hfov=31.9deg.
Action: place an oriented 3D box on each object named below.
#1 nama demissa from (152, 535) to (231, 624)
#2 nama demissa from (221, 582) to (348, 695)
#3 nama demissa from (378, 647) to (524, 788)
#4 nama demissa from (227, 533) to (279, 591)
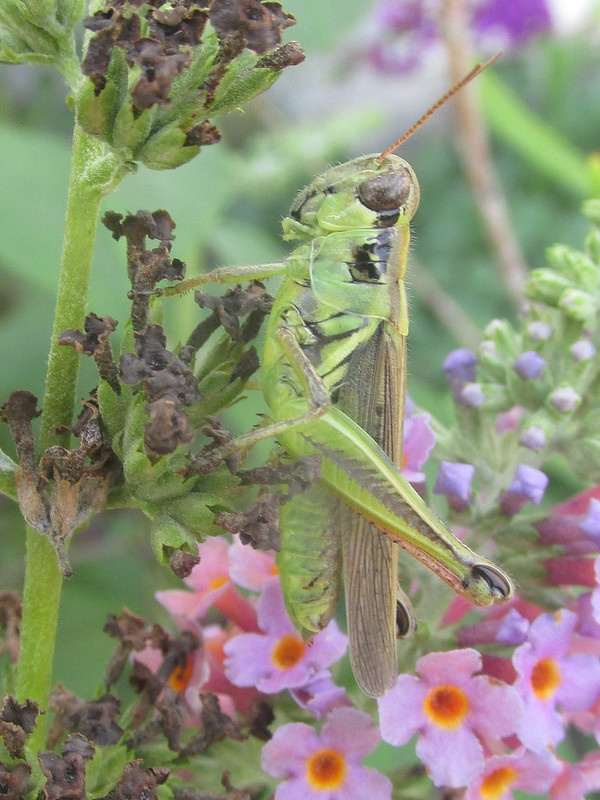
[{"bbox_3d":[-0.143,0.271,1.612,0.103,0.123,0.047,27,17,-52],"label":"nama demissa"},{"bbox_3d":[-0.021,0.318,1.367,0.159,0.124,0.159,-3,16,12],"label":"nama demissa"},{"bbox_3d":[0.177,0.383,1.282,0.194,0.163,0.096,-4,-10,-17],"label":"nama demissa"},{"bbox_3d":[-0.070,0.235,1.502,0.080,0.097,0.079,-5,22,-6],"label":"nama demissa"}]
